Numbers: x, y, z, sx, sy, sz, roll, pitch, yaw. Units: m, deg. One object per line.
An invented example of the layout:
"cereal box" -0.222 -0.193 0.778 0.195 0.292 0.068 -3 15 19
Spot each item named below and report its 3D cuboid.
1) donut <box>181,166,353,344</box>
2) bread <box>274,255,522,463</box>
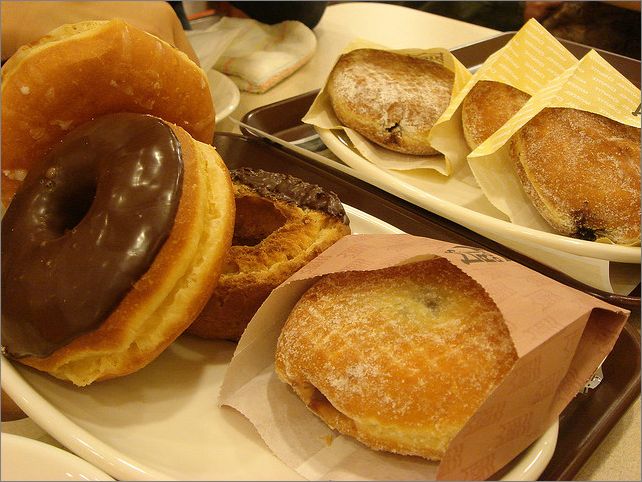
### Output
"donut" -0.073 0.004 0.809 0.291 0.103 0.276 -23 42 -28
"bread" 0.080 0.140 0.647 0.256 0.118 0.239 -6 52 -10
